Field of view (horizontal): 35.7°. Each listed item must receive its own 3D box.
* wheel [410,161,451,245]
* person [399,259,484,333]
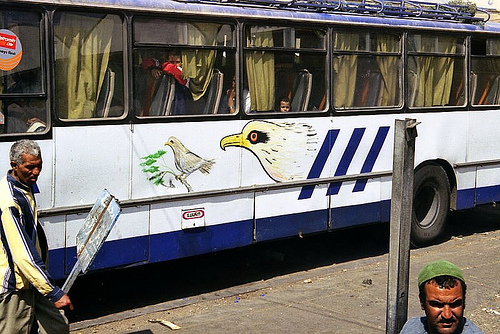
[{"bbox_3d":[3.015,0.669,14.225,1.385,1.563,0.470,-7,9,-36],"label":"wheel"},{"bbox_3d":[1.953,1.323,8.094,0.766,0.808,0.679,0,-4,5],"label":"person"}]
